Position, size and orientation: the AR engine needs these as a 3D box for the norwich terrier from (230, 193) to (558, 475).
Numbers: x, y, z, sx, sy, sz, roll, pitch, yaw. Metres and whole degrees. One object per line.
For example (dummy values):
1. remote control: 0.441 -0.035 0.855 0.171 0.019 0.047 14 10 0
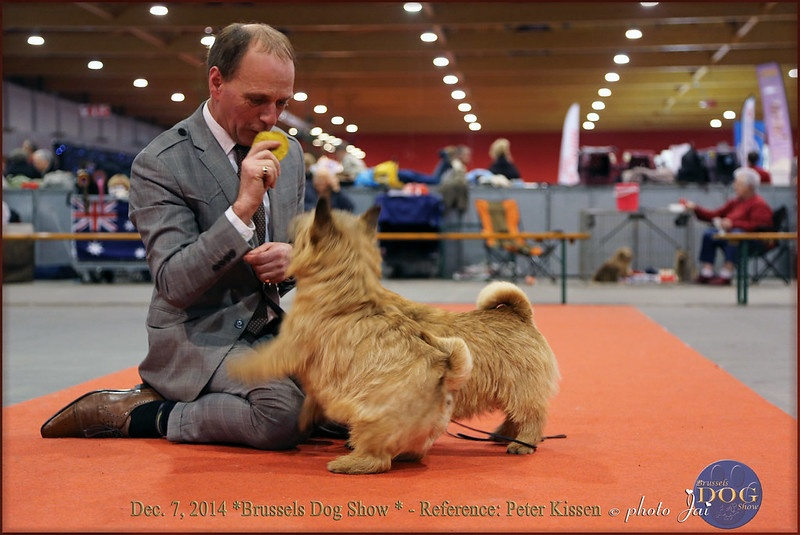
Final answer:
1. norwich terrier: -0.015 0.362 5.010 1.649 1.451 0.391 -1 2 -10

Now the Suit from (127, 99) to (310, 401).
1. Suit: -1.040 -0.064 5.483 0.869 1.731 0.848 -3 -5 -5

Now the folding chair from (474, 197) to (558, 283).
1. folding chair: 1.778 -0.421 14.768 1.148 1.425 1.093 2 7 10
